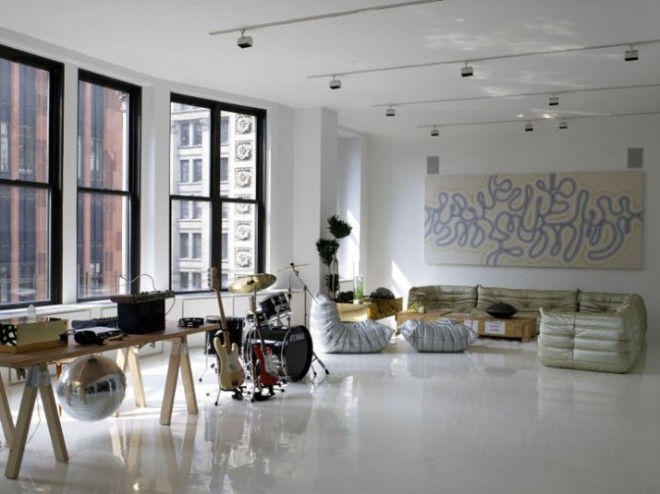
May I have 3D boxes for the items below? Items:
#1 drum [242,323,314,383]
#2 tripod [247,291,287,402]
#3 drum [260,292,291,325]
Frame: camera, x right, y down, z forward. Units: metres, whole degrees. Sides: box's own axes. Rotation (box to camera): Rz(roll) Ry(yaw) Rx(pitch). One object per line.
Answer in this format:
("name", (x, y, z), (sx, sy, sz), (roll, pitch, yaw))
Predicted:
("drum", (-0.733, 1.261, 6.787), (0.733, 0.829, 0.766), (5, -5, 42))
("tripod", (-0.776, 1.152, 6.300), (0.376, 1.210, 0.677), (0, 3, -6))
("drum", (-0.752, 0.831, 7.017), (0.409, 0.302, 0.423), (-22, -10, -4))
